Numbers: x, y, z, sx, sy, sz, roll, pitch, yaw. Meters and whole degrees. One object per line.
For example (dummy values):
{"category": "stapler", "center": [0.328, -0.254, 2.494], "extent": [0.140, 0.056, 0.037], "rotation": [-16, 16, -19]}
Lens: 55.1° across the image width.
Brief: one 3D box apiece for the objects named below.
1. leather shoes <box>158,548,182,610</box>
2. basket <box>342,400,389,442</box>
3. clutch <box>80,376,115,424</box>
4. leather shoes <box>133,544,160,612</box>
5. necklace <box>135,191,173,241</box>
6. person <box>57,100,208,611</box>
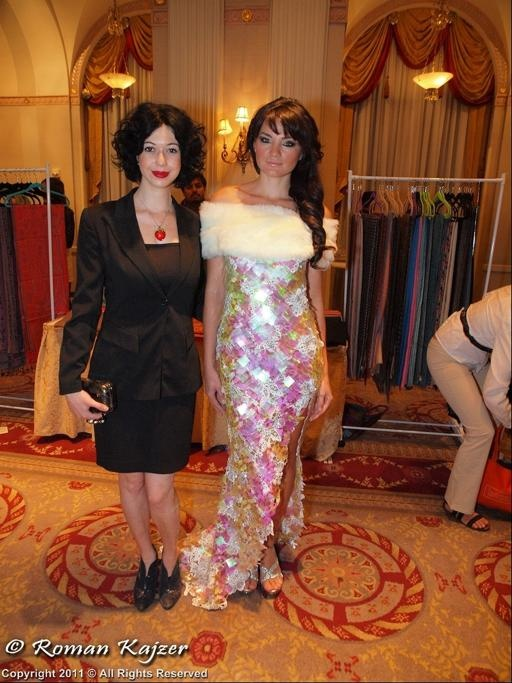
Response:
{"category": "leather shoes", "center": [-0.317, 0.873, 1.804], "extent": [0.064, 0.183, 0.071], "rotation": [-4, -20, -6]}
{"category": "basket", "center": [0.821, 0.583, 3.706], "extent": [0.281, 0.107, 0.281], "rotation": [14, 16, 27]}
{"category": "clutch", "center": [-0.470, 0.178, 1.459], "extent": [0.088, 0.133, 0.123], "rotation": [-2, 11, -21]}
{"category": "leather shoes", "center": [-0.388, 0.861, 1.796], "extent": [0.070, 0.084, 0.204], "rotation": [-1, 53, -2]}
{"category": "necklace", "center": [-0.321, -0.392, 1.553], "extent": [0.130, 0.176, 0.059], "rotation": [-5, -9, -26]}
{"category": "person", "center": [-0.382, 0.101, 1.615], "extent": [0.523, 1.743, 0.345], "rotation": [-3, 12, -28]}
